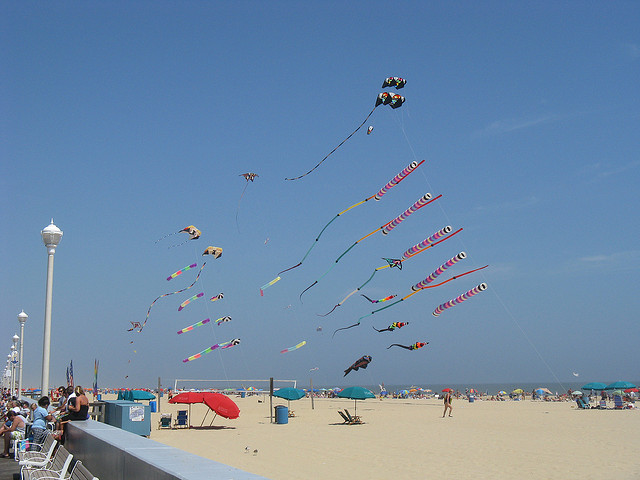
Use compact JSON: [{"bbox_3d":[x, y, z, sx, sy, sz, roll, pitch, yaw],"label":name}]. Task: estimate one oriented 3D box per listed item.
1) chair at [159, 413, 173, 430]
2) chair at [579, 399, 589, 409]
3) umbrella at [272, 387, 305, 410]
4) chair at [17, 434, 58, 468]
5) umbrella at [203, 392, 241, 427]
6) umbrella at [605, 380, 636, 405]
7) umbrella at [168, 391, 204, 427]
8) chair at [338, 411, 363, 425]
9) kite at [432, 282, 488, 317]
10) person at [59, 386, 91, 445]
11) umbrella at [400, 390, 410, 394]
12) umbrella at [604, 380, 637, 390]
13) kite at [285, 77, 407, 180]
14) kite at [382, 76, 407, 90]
[{"bbox_3d":[-6.990,8.243,31.388,0.628,0.915,0.818,0,-18,1],"label":"chair"},{"bbox_3d":[16.737,10.387,43.814,0.551,0.587,0.521,-6,-17,7],"label":"chair"},{"bbox_3d":[-1.639,7.781,35.036,1.614,0.626,1.433,-3,-17,-5],"label":"umbrella"},{"bbox_3d":[-6.809,5.107,16.678,0.479,0.507,1.294,11,-22,-26],"label":"chair"},{"bbox_3d":[-4.144,6.817,28.524,1.397,1.047,1.028,-1,-17,-10],"label":"umbrella"},{"bbox_3d":[20.887,10.375,48.519,1.382,0.835,4.518,-8,-17,14],"label":"umbrella"},{"bbox_3d":[-5.534,7.020,29.484,1.550,1.297,1.493,-5,5,-17],"label":"umbrella"},{"bbox_3d":[1.420,8.451,32.933,0.910,0.657,1.551,-4,-16,0],"label":"chair"},{"bbox_3d":[4.074,1.821,20.570,0.387,0.416,2.685,28,-25,-7],"label":"kite"},{"bbox_3d":[-6.348,4.247,17.746,0.686,0.901,0.714,-2,-17,-6],"label":"person"},{"bbox_3d":[9.934,18.054,81.783,0.929,0.365,1.224,2,-6,12],"label":"umbrella"},{"bbox_3d":[21.053,10.155,48.340,1.356,0.539,4.169,-5,-16,3],"label":"umbrella"},{"bbox_3d":[1.246,-4.126,25.367,1.457,0.820,6.552,20,47,42],"label":"kite"},{"bbox_3d":[2.825,-5.960,26.481,0.749,0.459,0.277,-5,-17,4],"label":"kite"}]
